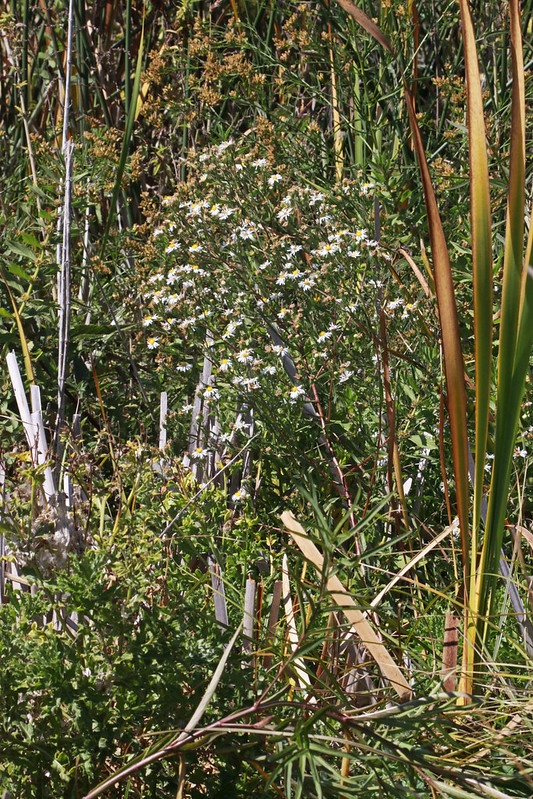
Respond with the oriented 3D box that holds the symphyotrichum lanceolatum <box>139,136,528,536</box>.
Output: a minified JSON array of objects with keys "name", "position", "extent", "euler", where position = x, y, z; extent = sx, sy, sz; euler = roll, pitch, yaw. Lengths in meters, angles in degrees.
[{"name":"symphyotrichum lanceolatum","position":[0.098,-0.391,3.854],"extent":[0.895,0.489,0.950],"euler":[24,52,8]}]
